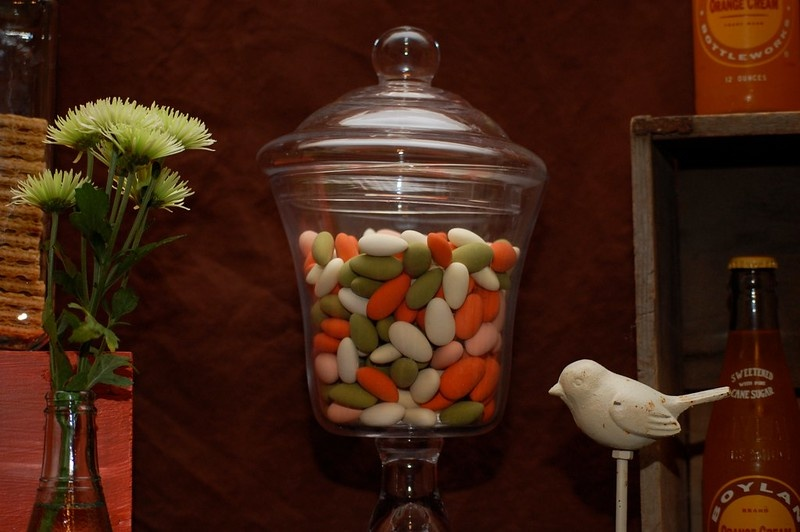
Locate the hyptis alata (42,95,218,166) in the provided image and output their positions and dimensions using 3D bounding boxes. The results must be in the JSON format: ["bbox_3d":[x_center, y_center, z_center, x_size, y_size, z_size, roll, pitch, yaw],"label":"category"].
[{"bbox_3d":[-0.320,-0.156,1.031,0.197,0.084,0.107,2,2,21],"label":"hyptis alata"}]

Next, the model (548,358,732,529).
[{"bbox_3d":[0.256,0.153,0.958,0.141,0.219,0.129,-1,1,-15],"label":"model"}]

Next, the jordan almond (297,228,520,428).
[{"bbox_3d":[0.013,0.073,1.023,0.241,0.230,0.071,1,2,-7],"label":"jordan almond"}]

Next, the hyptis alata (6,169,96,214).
[{"bbox_3d":[-0.415,-0.082,1.039,0.085,0.042,0.082,-1,-2,-33],"label":"hyptis alata"}]
